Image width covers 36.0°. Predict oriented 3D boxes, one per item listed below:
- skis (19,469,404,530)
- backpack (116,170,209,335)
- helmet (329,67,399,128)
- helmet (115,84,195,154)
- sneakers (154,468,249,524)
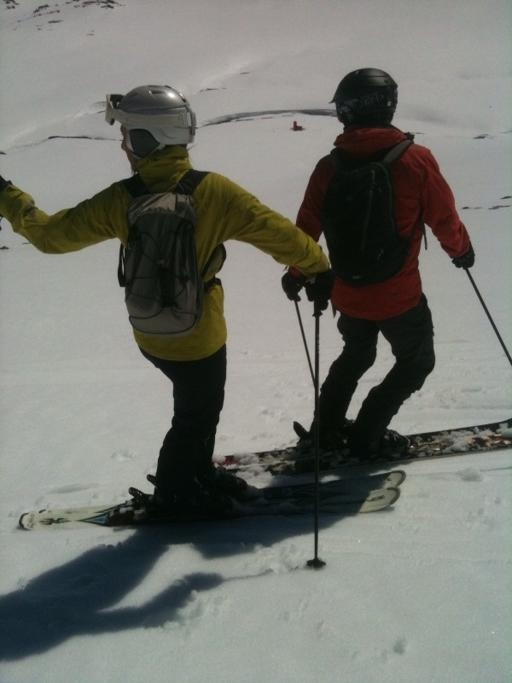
[{"bbox_3d":[-0.180,0.872,4.285,1.737,0.075,0.271,-4,11,1],"label":"skis"},{"bbox_3d":[-0.396,-0.379,3.528,0.485,0.707,0.310,-10,27,-2],"label":"backpack"},{"bbox_3d":[0.558,-1.313,4.268,0.326,0.283,0.366,-15,30,-14],"label":"helmet"},{"bbox_3d":[-0.460,-0.963,3.535,0.392,0.247,0.289,-7,38,-2],"label":"helmet"},{"bbox_3d":[-0.412,0.818,4.227,0.707,0.260,0.186,-2,21,-6],"label":"sneakers"}]
